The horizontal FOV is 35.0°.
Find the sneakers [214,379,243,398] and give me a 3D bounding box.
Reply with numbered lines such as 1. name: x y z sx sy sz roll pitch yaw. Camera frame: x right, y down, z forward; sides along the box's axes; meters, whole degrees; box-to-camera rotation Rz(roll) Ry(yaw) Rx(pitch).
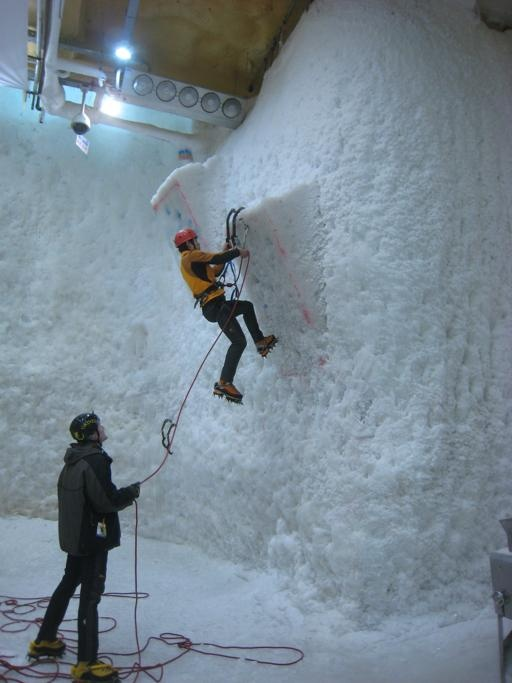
1. sneakers: -0.209 0.358 5.829 0.182 0.120 0.221 0 5 -5

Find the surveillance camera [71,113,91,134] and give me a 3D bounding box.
1. surveillance camera: -1.581 -1.957 7.295 0.154 0.203 0.248 -1 5 -14

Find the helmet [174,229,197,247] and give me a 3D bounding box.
1. helmet: -0.525 -0.766 6.049 0.179 0.094 0.126 -25 8 -8

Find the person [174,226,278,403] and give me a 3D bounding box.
1. person: -0.229 -0.172 6.035 0.676 1.302 0.539 5 7 42

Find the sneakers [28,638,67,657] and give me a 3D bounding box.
1. sneakers: -1.148 1.709 4.524 0.230 0.101 0.080 2 -10 -18
